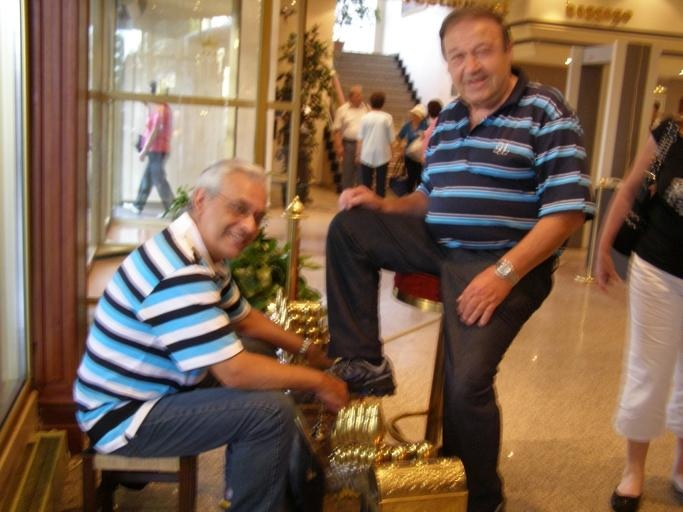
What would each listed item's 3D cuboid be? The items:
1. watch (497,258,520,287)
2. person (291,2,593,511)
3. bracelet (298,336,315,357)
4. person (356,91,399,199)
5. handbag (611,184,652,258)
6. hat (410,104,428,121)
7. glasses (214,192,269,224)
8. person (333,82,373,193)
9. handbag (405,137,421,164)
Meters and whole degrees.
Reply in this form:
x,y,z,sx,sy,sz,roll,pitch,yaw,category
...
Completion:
x,y,z,sx,sy,sz,roll,pitch,yaw,category
0.578,0.057,1.893,0.062,0.038,0.062,49,-6,18,watch
0.416,-0.013,2.079,0.928,1.747,0.538,9,15,28,person
-0.146,0.367,2.231,0.057,0.062,0.060,21,1,10,bracelet
0.443,-1.394,7.247,0.486,1.468,0.449,1,32,-1,person
1.209,-0.139,2.247,0.076,0.239,0.166,18,10,-24,handbag
1.082,-1.976,7.450,0.264,0.144,0.203,22,2,-43,hat
-0.354,-0.131,1.868,0.154,0.083,0.124,-14,9,-21,glasses
0.202,-1.516,7.603,0.580,1.586,0.500,-7,35,-6,person
0.959,-1.411,7.300,0.227,0.251,0.280,6,6,38,handbag
